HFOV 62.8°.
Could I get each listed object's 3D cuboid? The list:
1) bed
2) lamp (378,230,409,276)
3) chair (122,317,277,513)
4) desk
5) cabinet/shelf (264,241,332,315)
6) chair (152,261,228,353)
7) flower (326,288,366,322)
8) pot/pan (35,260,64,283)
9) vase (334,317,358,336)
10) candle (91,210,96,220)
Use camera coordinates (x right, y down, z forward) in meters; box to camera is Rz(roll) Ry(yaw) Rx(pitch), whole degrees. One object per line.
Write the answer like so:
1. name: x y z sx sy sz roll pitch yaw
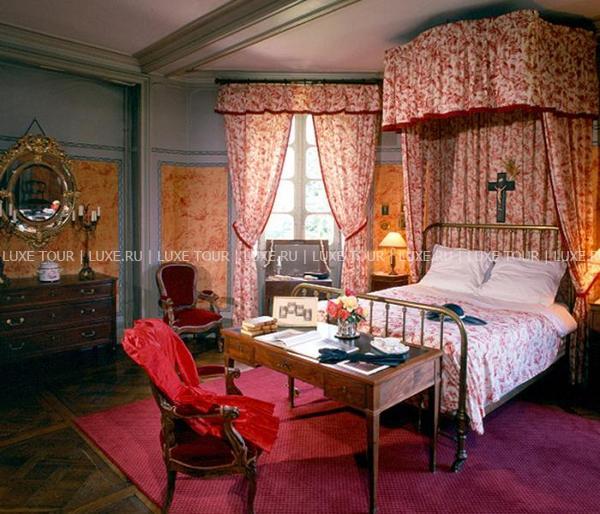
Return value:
1. bed: 1.496 0.561 4.648 1.882 1.492 2.479 4 6 44
2. lamp: 1.140 -0.037 6.413 0.573 0.694 0.505 0 1 1
3. chair: -0.559 0.896 3.458 1.294 1.415 0.987 0 4 -5
4. desk: 0.231 0.590 3.400 0.997 0.973 1.724 -3 5 -43
5. cabinet/shelf: -0.024 0.369 6.334 0.864 1.056 0.409 -1 13 -5
6. chair: -1.292 0.593 5.759 0.682 0.927 0.691 12 12 43
7. flower: 0.324 0.362 3.576 0.253 0.235 0.249 1 1 -45
8. pot/pan: -2.685 0.159 5.313 0.259 0.207 0.255 -2 3 -40
9. vase: 0.343 0.518 3.582 0.131 0.117 0.125 1 -2 2
10. candle: -2.363 -0.463 5.651 0.067 0.131 0.197 -4 11 -22
